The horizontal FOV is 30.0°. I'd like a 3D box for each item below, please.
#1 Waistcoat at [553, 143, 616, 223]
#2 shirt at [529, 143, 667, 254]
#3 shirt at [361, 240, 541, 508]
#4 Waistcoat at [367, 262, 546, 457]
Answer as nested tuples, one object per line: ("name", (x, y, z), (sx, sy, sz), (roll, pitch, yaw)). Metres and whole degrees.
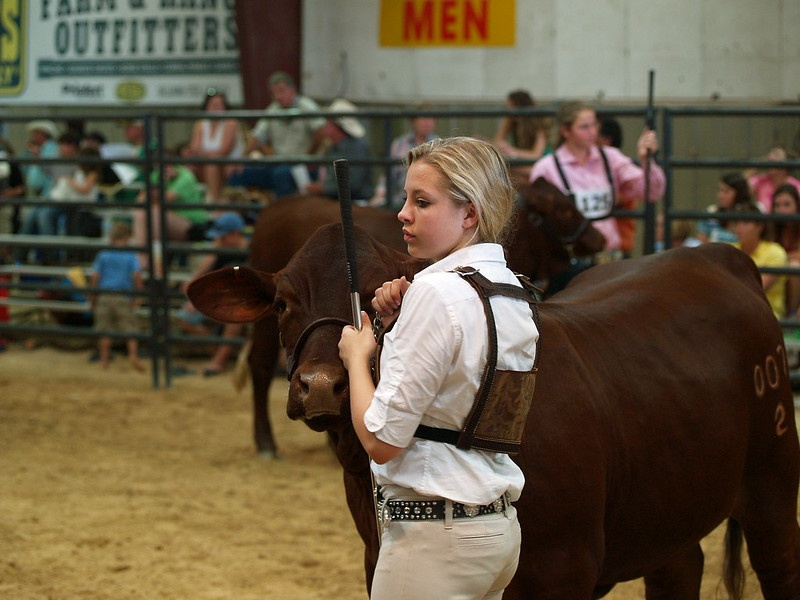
("Waistcoat", (1.016, -0.654, 8.166), (0.244, 0.465, 0.165), (-13, 21, 25))
("shirt", (1.033, -0.540, 8.256), (0.780, 0.436, 0.789), (-13, 9, -18))
("shirt", (0.188, 0.289, 5.226), (0.456, 0.887, 0.833), (3, -5, 33))
("Waistcoat", (0.156, 0.215, 5.430), (0.610, 0.723, 0.441), (0, -10, 29))
